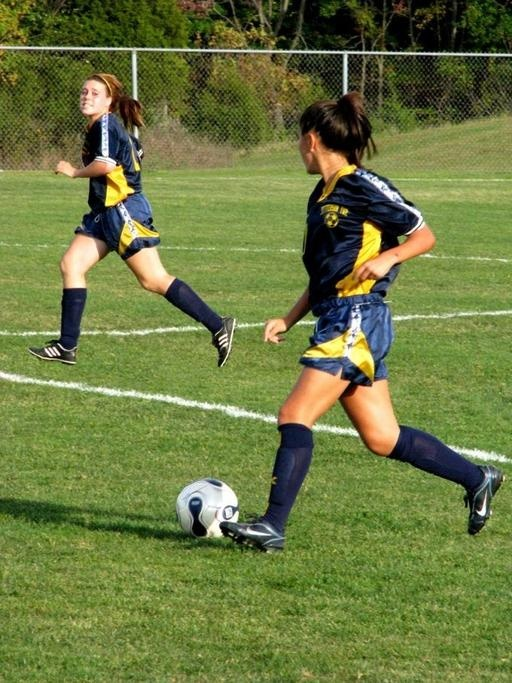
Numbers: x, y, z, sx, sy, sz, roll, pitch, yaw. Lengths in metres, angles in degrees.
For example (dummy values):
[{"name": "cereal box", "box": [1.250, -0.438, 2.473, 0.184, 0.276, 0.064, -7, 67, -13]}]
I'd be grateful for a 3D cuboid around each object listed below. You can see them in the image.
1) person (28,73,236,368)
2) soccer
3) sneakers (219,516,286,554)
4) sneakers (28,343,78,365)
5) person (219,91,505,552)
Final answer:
[{"name": "person", "box": [-0.714, -0.708, 5.013, 1.026, 1.629, 0.772, 4, 13, -18]}, {"name": "soccer", "box": [-0.185, 0.675, 3.474, 0.268, 0.212, 0.242, 2, -11, -21]}, {"name": "sneakers", "box": [0.003, 0.672, 3.072, 0.268, 0.114, 0.081, 18, -34, -2]}, {"name": "sneakers", "box": [-1.130, 0.064, 4.817, 0.312, 0.114, 0.104, 11, 3, -17]}, {"name": "person", "box": [0.373, -0.027, 3.188, 0.948, 1.700, 0.524, 3, 14, -19]}]
